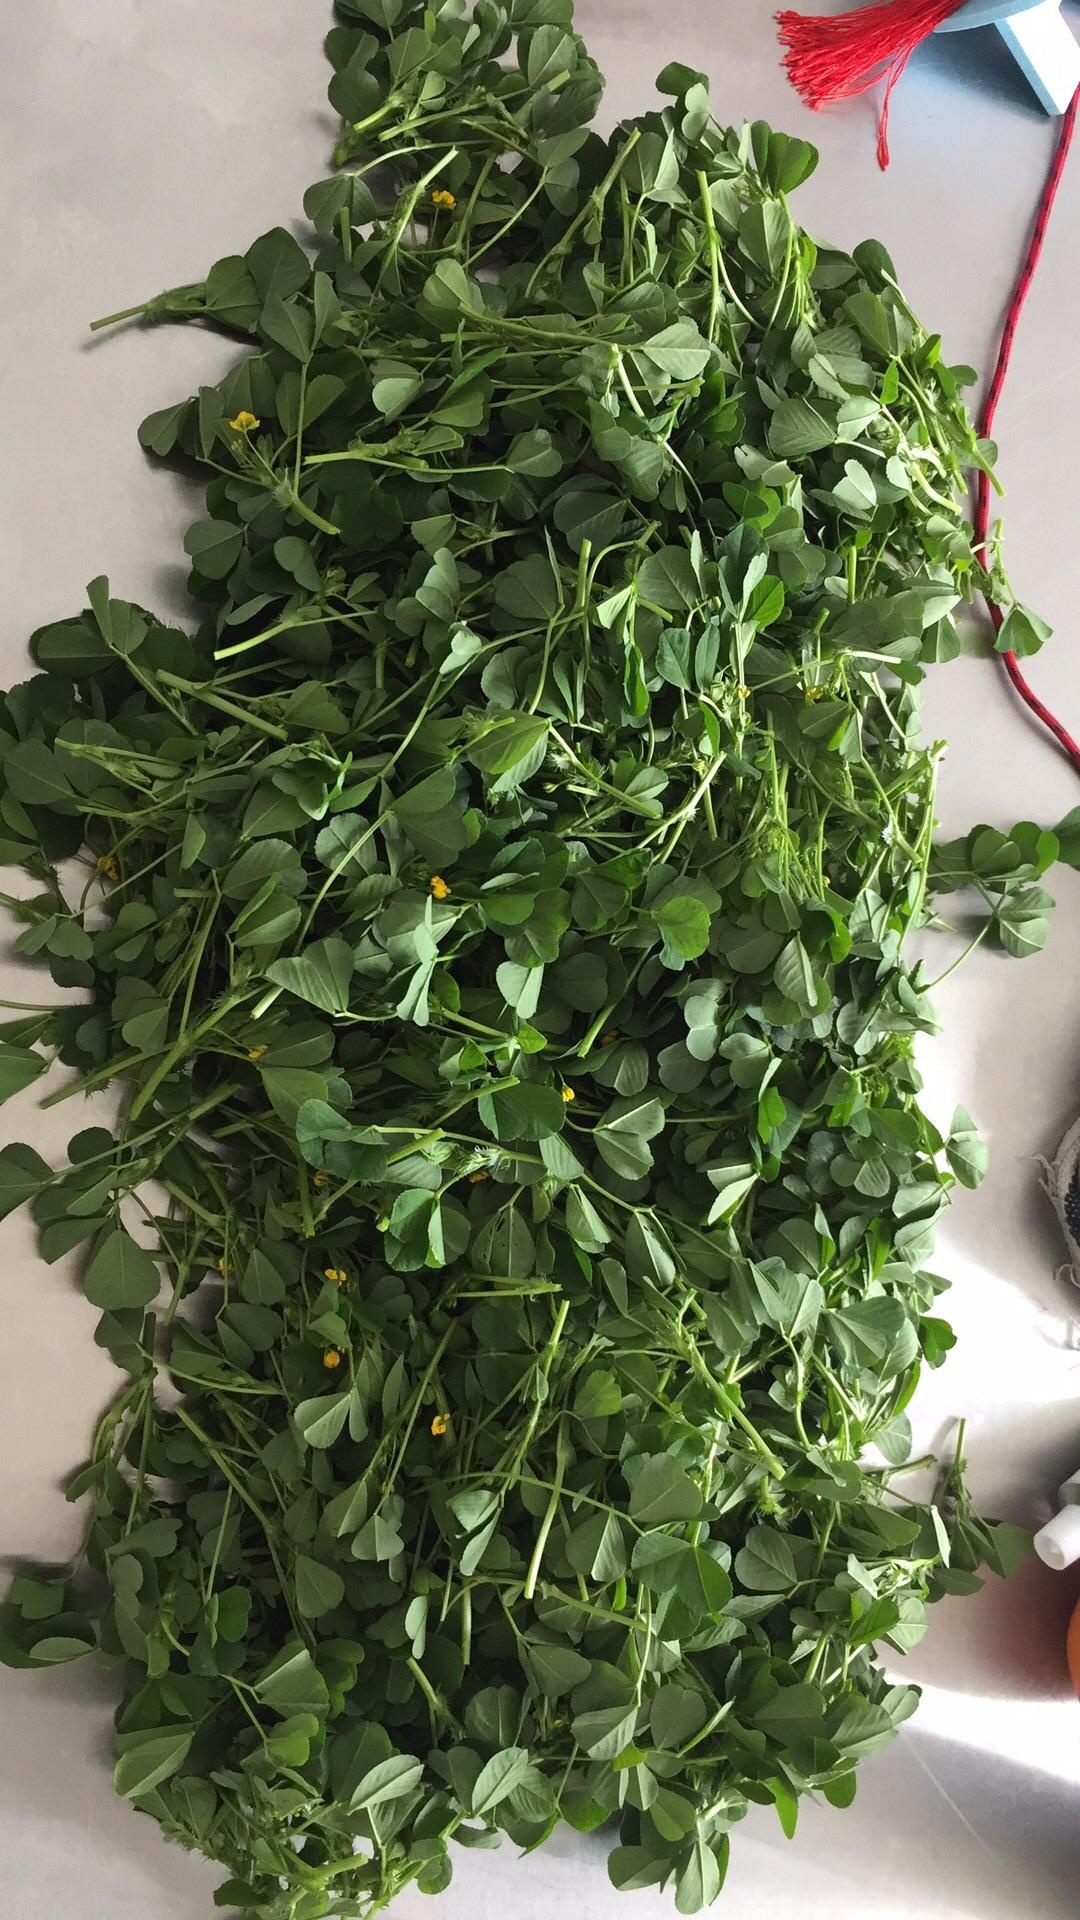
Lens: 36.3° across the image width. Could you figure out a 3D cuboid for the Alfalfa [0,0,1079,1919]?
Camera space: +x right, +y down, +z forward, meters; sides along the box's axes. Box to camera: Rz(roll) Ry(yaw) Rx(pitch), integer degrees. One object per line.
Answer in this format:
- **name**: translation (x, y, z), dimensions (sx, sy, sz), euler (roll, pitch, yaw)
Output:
- **Alfalfa**: translation (-0.015, 0.045, 0.883), dimensions (0.605, 1.041, 0.306), euler (0, 2, -3)
